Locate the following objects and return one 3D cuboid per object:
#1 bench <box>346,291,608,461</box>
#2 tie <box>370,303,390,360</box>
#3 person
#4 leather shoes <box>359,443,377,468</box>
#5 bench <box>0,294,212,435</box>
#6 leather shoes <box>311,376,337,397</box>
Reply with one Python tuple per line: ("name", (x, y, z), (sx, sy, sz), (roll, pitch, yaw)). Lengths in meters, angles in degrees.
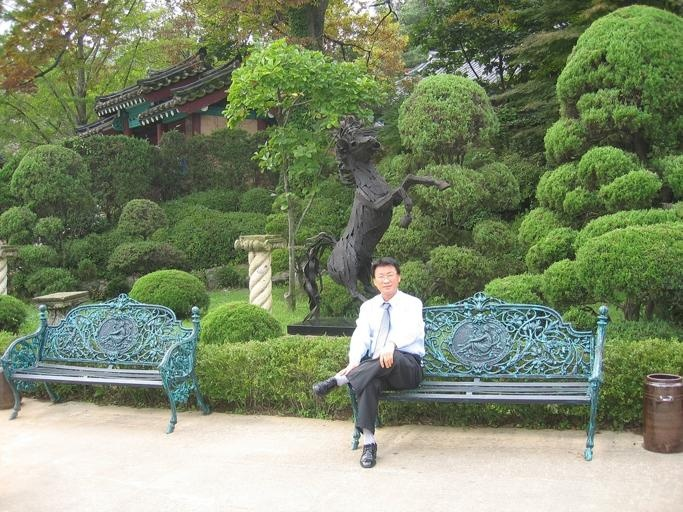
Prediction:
("bench", (1.579, 1.398, 10.045), (2.747, 1.649, 0.887), (-1, 7, 22))
("tie", (0.467, 0.865, 9.888), (0.172, 0.636, 0.047), (4, -10, 8))
("person", (0.420, 1.165, 9.768), (1.007, 2.273, 0.549), (0, -1, -43))
("leather shoes", (0.291, 2.175, 9.466), (0.182, 0.254, 0.100), (-1, -1, -8))
("bench", (-2.943, 1.308, 10.996), (2.493, 1.627, 0.803), (-2, -1, 12))
("leather shoes", (-0.169, 1.457, 9.624), (0.322, 0.171, 0.117), (-17, 8, -15))
